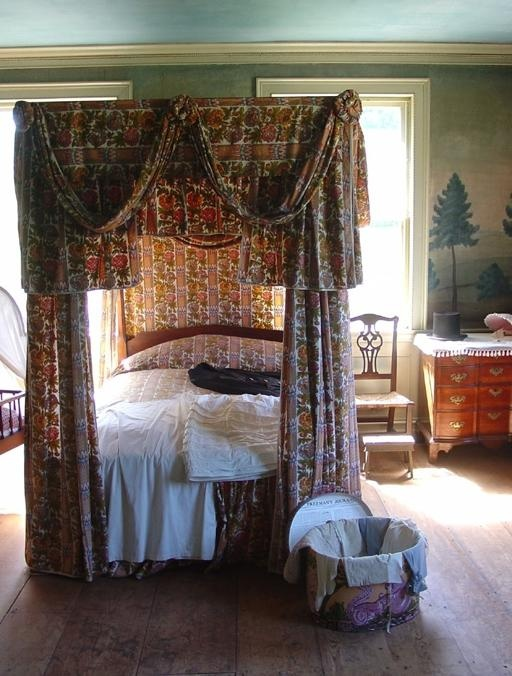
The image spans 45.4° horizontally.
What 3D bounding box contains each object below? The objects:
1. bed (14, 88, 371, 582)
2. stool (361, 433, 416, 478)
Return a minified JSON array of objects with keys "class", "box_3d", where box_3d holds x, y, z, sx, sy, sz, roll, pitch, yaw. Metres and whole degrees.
[{"class":"bed","box_3d":[-0.295,0.027,2.740,1.511,2.076,0.570,0,11,7]},{"class":"stool","box_3d":[0.844,0.789,3.929,0.368,0.252,0.270,0,7,4]}]
